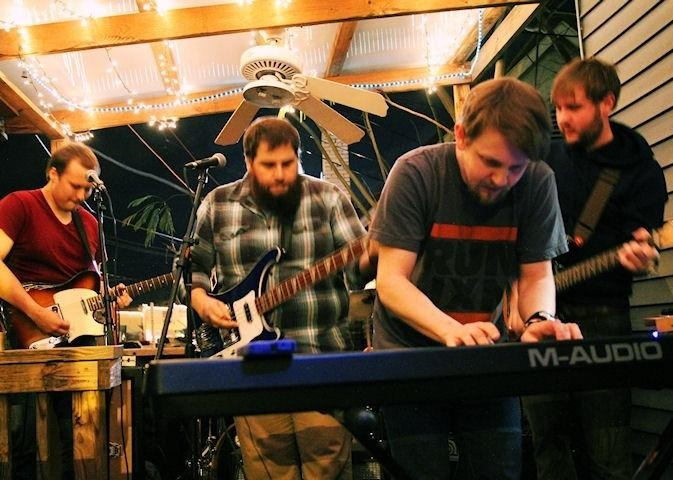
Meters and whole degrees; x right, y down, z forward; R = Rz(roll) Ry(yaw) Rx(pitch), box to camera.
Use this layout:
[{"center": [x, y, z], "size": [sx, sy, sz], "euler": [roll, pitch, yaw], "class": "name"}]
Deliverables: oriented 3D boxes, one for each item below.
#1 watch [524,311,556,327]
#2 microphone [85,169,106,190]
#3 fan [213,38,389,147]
[{"center": [0.804, 0.324, 2.393], "size": [0.076, 0.022, 0.073], "euler": [10, -18, -12], "class": "watch"}, {"center": [-1.559, -0.392, 3.922], "size": [0.073, 0.079, 0.239], "euler": [-18, 40, -39], "class": "microphone"}, {"center": [-0.345, -0.915, 4.139], "size": [0.792, 0.401, 0.872], "euler": [18, -40, -37], "class": "fan"}]
